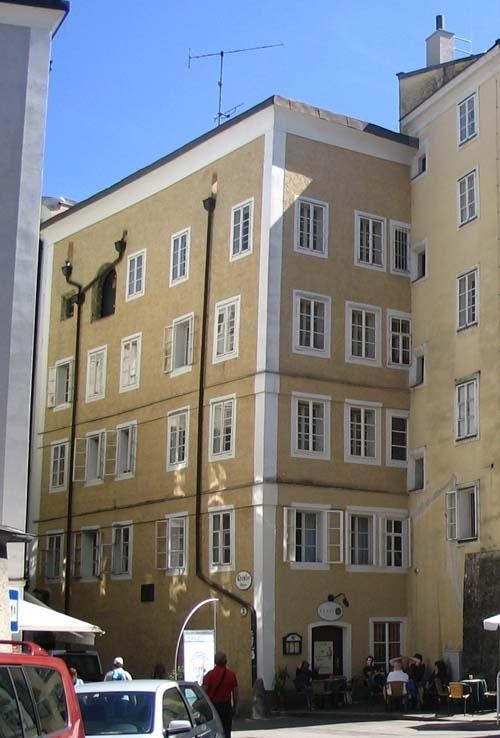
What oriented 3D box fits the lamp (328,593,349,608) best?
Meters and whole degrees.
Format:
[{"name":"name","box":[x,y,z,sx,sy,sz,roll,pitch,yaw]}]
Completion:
[{"name":"lamp","box":[2.513,6.548,29.316,0.796,0.394,0.072,16,-22,-38]}]
